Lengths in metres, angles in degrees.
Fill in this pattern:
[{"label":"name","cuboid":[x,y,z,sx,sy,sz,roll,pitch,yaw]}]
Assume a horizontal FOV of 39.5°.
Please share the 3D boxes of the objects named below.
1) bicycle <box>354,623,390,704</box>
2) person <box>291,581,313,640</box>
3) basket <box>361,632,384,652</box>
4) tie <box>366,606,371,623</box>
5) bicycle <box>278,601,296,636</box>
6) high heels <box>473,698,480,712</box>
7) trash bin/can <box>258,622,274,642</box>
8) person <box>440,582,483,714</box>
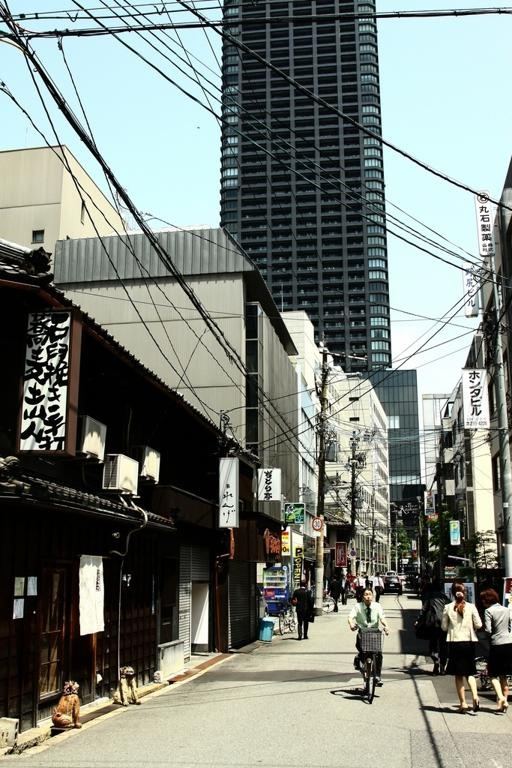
[{"label":"bicycle","cuboid":[1.604,4.090,10.376,0.475,0.988,1.477,-10,-21,8]},{"label":"person","cuboid":[1.437,7.100,22.063,0.558,1.697,2.281,3,-10,5]},{"label":"basket","cuboid":[1.679,3.673,10.271,0.243,0.304,0.265,-6,-12,35]},{"label":"tie","cuboid":[1.649,3.383,10.454,0.071,0.238,0.067,3,-8,9]},{"label":"bicycle","cuboid":[1.214,9.332,28.067,0.611,1.103,1.673,-9,-24,13]},{"label":"high heels","cuboid":[2.811,4.096,9.108,0.067,0.165,0.354,1,-11,21]},{"label":"trash bin/can","cuboid":[0.295,7.815,22.554,0.454,0.656,0.572,3,-9,11]},{"label":"person","cuboid":[2.754,3.526,9.585,0.493,1.576,1.319,1,-10,18]}]
